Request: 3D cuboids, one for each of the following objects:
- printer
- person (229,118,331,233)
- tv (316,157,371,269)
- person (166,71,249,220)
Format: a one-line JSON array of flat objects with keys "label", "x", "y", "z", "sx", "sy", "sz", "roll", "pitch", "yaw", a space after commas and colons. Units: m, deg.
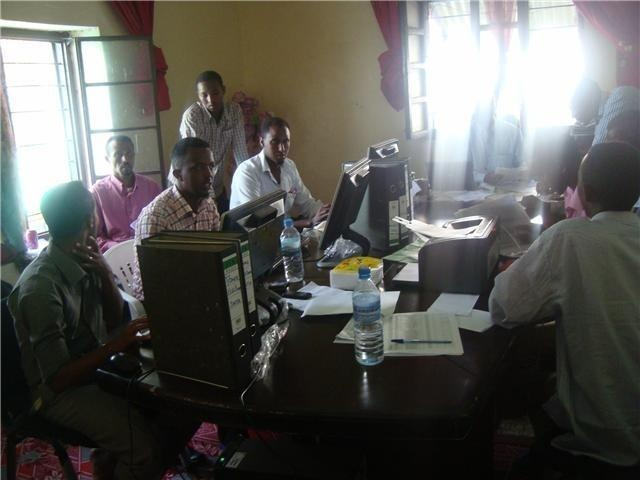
[{"label": "printer", "x": 0.638, "y": 0.022, "z": 2.418, "sx": 0.458, "sy": 0.321, "sz": 0.672, "roll": -3, "pitch": 9, "yaw": 27}, {"label": "person", "x": -0.310, "y": -0.473, "z": 3.785, "sx": 0.846, "sy": 0.892, "sz": 0.643, "roll": 12, "pitch": 17, "yaw": 27}, {"label": "tv", "x": 0.150, "y": -0.145, "z": 2.707, "sx": 0.209, "sy": 0.447, "sz": 0.466, "roll": 3, "pitch": 9, "yaw": 19}, {"label": "person", "x": -0.951, "y": -0.648, "z": 4.894, "sx": 0.604, "sy": 1.916, "sz": 0.644, "roll": 28, "pitch": 43, "yaw": 34}]
